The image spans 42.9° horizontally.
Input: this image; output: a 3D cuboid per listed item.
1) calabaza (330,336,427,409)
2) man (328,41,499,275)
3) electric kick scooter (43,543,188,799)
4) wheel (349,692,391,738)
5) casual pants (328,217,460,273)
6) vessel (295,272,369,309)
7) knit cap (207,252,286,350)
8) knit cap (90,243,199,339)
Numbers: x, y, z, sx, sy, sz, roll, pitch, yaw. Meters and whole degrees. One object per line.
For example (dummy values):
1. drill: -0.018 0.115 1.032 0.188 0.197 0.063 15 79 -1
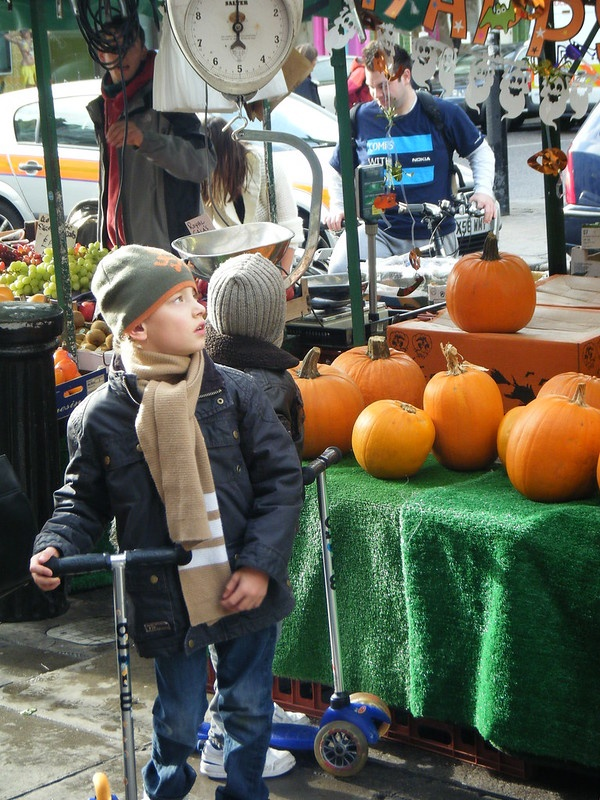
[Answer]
1. calabaza: 0.283 -0.138 2.709 0.296 0.252 0.283 5 12 8
2. man: 0.719 -1.631 5.243 1.184 1.393 1.249 -3 7 14
3. electric kick scooter: -0.305 0.495 1.383 0.230 0.497 0.175 -7 7 -16
4. wheel: 0.191 0.891 2.175 0.133 0.123 0.031 -9 7 16
5. casual pants: 0.641 -1.112 5.520 0.720 0.251 0.699 -11 11 -31
6. vessel: 0.155 -0.587 4.118 0.307 0.105 0.298 -4 19 5
7. knit cap: -0.129 -0.253 1.890 0.188 0.236 0.240 5 23 6
8. knit cap: -0.319 -0.222 1.531 0.207 0.191 0.149 -5 7 -2
